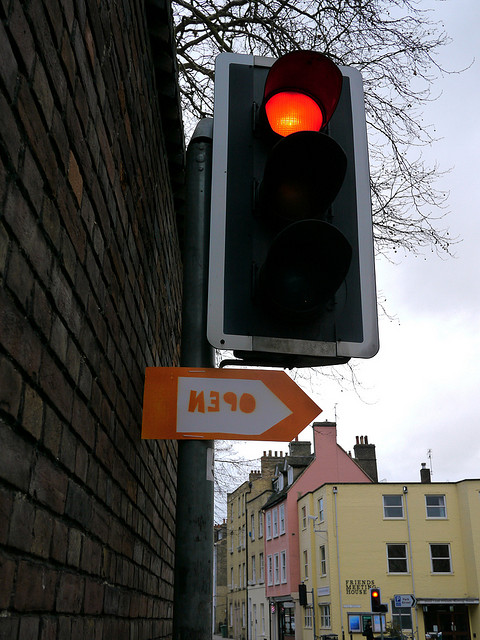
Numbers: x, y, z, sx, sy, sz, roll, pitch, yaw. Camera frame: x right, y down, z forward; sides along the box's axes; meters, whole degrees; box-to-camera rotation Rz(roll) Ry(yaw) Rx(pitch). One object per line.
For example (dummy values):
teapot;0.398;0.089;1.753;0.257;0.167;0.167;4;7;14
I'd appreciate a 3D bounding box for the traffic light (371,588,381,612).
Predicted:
traffic light;5.595;11.629;23.727;0.349;0.854;1.088;-5;-25;12
